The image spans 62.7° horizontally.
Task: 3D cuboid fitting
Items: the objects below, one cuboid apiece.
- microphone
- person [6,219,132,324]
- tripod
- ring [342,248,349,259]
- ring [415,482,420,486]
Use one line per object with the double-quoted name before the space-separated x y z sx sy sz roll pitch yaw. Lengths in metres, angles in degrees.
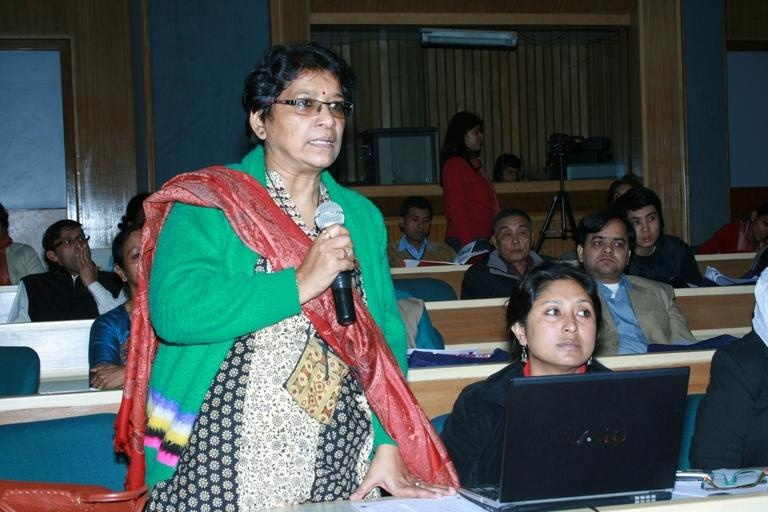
"microphone" -0.128 0.005 1.774 0.102 0.368 0.102 -5 -3 -4
"person" -2.153 0.120 4.314 0.774 0.659 0.426 -1 -6 -33
"tripod" 1.731 -0.513 6.414 0.386 0.992 1.593 1 6 15
"ring" -0.103 -0.006 1.644 0.028 0.028 0.009 4 -2 -10
"ring" 0.093 0.640 1.767 0.010 0.009 0.003 -11 -19 37
